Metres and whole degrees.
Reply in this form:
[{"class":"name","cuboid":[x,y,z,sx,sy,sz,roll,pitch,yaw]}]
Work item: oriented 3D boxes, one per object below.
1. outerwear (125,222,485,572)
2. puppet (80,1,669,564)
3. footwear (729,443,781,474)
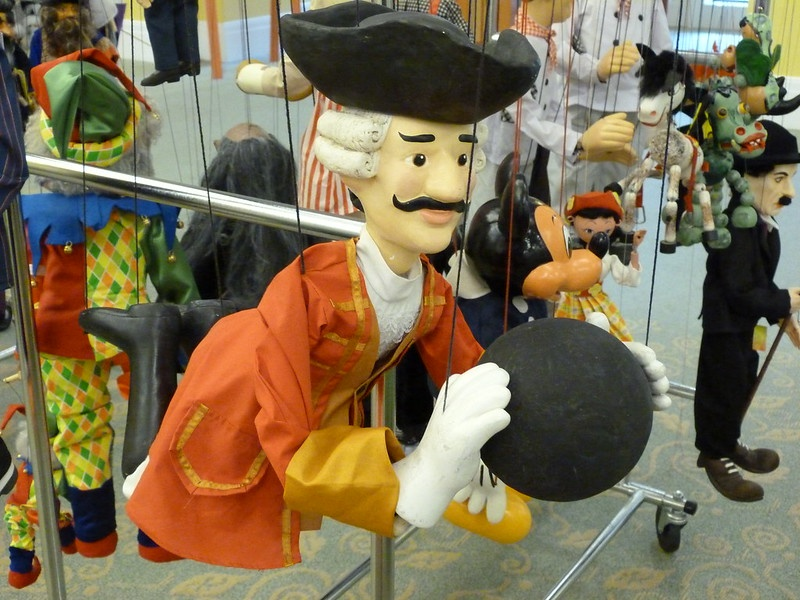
[{"class":"outerwear","cuboid":[-0.176,0.134,1.397,0.553,0.533,0.455,10,18,19]},{"class":"puppet","cuboid":[-0.113,-0.030,1.297,0.618,0.848,0.436,4,16,12]},{"class":"footwear","cuboid":[1.028,0.454,2.414,0.181,0.081,0.077,3,41,18]}]
